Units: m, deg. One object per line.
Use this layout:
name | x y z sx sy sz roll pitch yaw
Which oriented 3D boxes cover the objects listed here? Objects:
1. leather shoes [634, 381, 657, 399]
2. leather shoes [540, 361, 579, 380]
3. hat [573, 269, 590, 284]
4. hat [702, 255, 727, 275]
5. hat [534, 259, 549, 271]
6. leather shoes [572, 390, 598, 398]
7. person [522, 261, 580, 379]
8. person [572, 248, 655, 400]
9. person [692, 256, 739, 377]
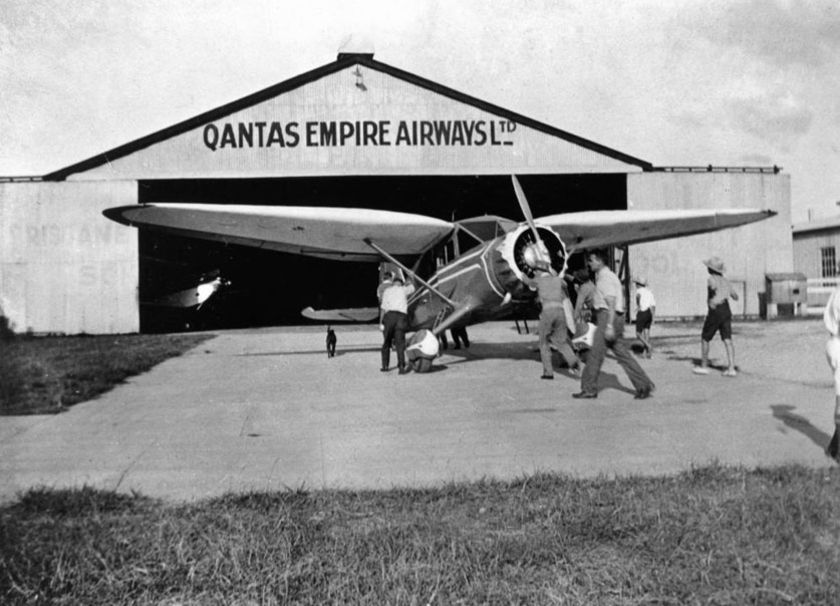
leather shoes | 2.464 0.930 9.933 0.152 0.145 0.213 0 -1 -30
leather shoes | 1.807 0.822 11.357 0.602 0.291 0.202 0 -8 5
hat | 2.034 -0.346 11.363 0.209 0.103 0.303 2 1 15
hat | 3.718 -0.479 11.411 0.198 0.192 0.353 1 9 10
hat | 1.572 -0.507 11.636 0.124 0.153 0.362 -6 1 -3
leather shoes | 1.823 0.990 9.992 0.179 0.080 0.110 -5 -3 9
person | 1.676 0.206 11.424 0.605 1.423 0.844 -1 8 3
person | 2.206 0.228 10.268 0.813 1.614 1.144 1 9 15
person | 4.060 0.108 12.413 0.552 1.691 2.515 2 9 19
